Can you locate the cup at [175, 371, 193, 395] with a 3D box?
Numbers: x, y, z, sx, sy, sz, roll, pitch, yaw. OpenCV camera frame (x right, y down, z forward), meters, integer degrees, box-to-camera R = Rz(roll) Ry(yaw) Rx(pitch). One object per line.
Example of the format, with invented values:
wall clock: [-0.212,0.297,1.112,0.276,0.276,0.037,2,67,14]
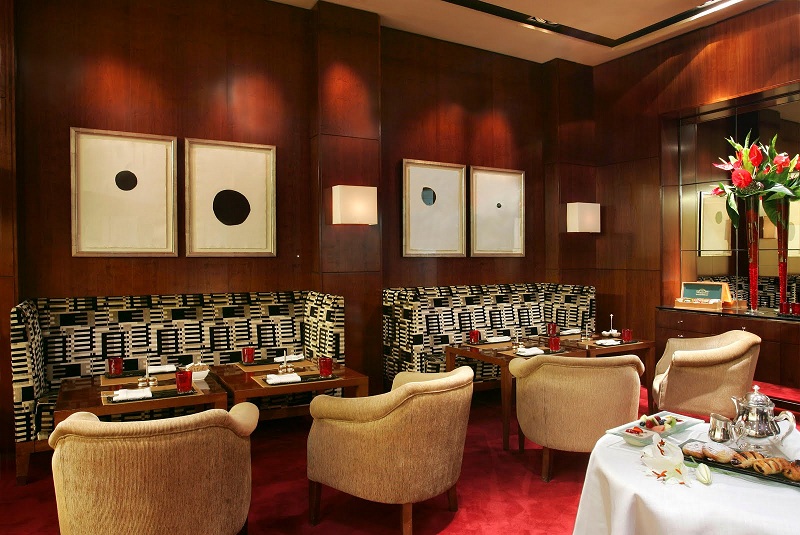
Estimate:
cup: [-1.660,0.877,4.429,0.145,0.182,0.144,0,2,0]

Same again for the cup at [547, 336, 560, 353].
cup: [1.433,0.708,5.345,0.108,0.159,0.113,-1,3,0]

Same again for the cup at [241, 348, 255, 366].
cup: [-1.378,0.798,5.211,0.122,0.148,0.125,0,2,0]

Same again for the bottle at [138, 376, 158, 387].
bottle: [-2.006,0.903,4.587,0.086,0.050,0.134,1,-2,-18]

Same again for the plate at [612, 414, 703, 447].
plate: [1.627,0.995,3.623,0.500,0.100,0.241,-1,2,-37]

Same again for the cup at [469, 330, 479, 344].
cup: [0.751,0.682,5.748,0.115,0.131,0.109,1,4,0]

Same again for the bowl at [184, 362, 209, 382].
bowl: [-1.672,0.849,4.734,0.151,0.078,0.156,0,2,0]

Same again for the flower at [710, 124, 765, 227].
flower: [3.611,-0.975,6.139,0.471,1.036,0.922,-2,2,31]

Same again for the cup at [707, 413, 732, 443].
cup: [1.950,0.972,3.501,0.168,0.171,0.108,0,-5,32]

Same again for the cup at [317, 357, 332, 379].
cup: [-0.608,0.815,4.718,0.142,0.163,0.139,0,2,0]
